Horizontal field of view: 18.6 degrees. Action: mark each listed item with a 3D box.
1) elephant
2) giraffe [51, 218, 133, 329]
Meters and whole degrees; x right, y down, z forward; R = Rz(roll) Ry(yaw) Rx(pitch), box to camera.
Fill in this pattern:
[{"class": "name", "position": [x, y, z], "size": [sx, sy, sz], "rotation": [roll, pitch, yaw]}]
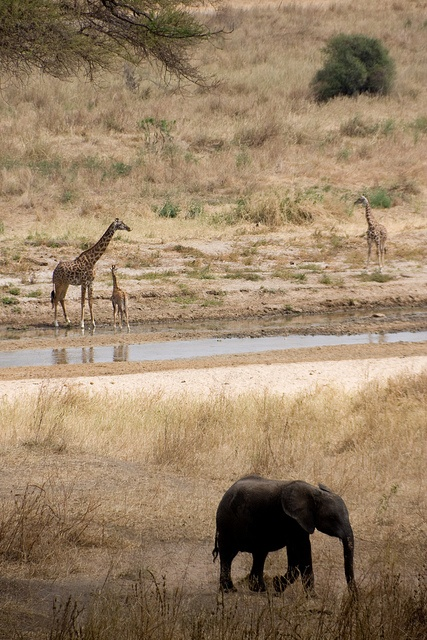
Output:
[{"class": "elephant", "position": [0.565, 1.696, 10.405], "size": [1.175, 1.427, 0.638], "rotation": [-1, -1, 13]}, {"class": "giraffe", "position": [-2.353, -0.873, 23.261], "size": [1.002, 1.898, 1.527], "rotation": [5, 10, 29]}]
